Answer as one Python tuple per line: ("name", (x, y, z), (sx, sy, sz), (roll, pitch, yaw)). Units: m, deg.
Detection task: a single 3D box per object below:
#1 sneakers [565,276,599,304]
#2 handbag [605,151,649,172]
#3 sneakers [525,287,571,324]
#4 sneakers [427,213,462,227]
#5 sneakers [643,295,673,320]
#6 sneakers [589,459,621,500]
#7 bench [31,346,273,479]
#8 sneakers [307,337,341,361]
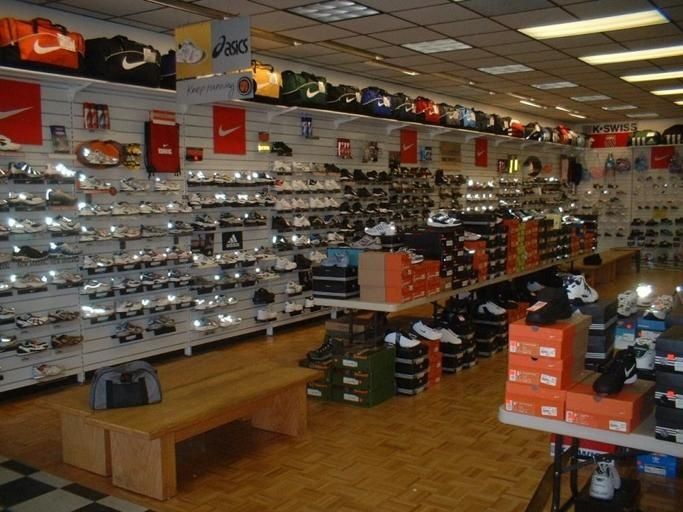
("sneakers", (1.808, 0.233, 3.887), (0.201, 0.187, 0.541), (2, 4, 41))
("handbag", (8.752, -2.890, 15.835), (1.085, 0.366, 0.831), (0, 3, 3))
("sneakers", (1.214, 0.285, 3.034), (0.202, 0.094, 0.292), (3, 18, 33))
("sneakers", (1.226, -0.457, 6.556), (0.639, 0.170, 0.172), (0, 5, -3))
("sneakers", (2.480, 0.365, 3.984), (0.221, 0.116, 0.615), (3, 5, 37))
("sneakers", (1.602, 1.289, 3.041), (0.177, 0.136, 0.289), (1, 8, 31))
("bench", (-1.546, 1.242, 4.095), (1.128, 0.367, 1.663), (3, 7, 30))
("sneakers", (-0.195, 1.011, 5.600), (0.198, 0.118, 0.402), (7, 7, 42))
